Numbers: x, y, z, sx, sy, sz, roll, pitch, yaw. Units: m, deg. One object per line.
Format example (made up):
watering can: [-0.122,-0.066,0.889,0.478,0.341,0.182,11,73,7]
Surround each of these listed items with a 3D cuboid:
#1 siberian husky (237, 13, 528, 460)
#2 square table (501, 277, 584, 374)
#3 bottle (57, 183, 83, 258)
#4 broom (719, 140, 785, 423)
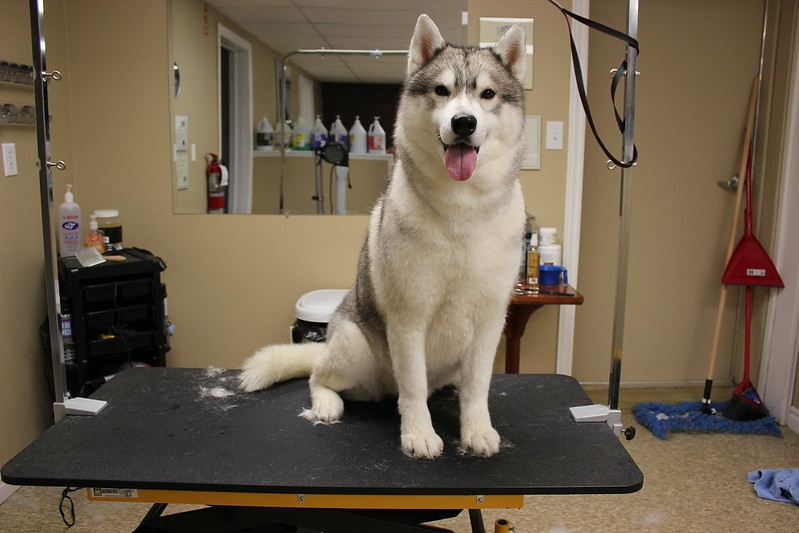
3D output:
siberian husky: [-0.002,-0.140,2.710,0.965,1.719,0.471,5,10,24]
square table: [0.893,0.337,4.348,0.560,0.576,0.578,0,8,5]
bottle: [-2.017,-0.275,3.974,0.128,0.419,0.292,-4,10,-28]
broom: [2.436,0.109,4.515,0.375,1.799,0.641,4,10,21]
